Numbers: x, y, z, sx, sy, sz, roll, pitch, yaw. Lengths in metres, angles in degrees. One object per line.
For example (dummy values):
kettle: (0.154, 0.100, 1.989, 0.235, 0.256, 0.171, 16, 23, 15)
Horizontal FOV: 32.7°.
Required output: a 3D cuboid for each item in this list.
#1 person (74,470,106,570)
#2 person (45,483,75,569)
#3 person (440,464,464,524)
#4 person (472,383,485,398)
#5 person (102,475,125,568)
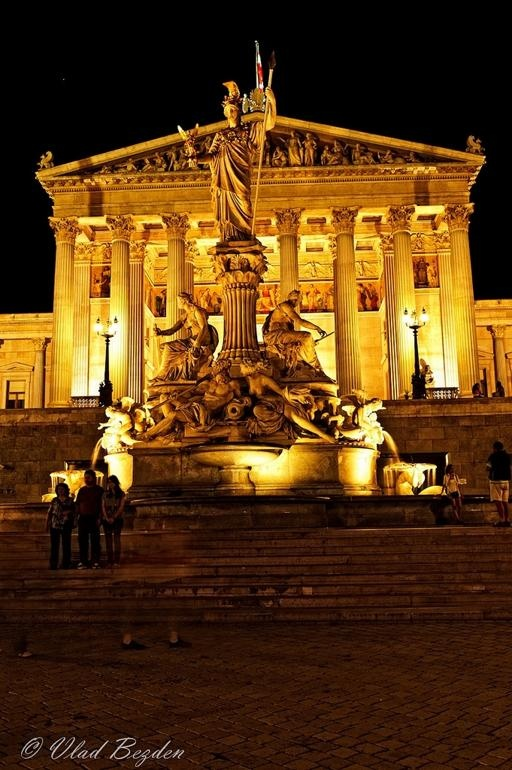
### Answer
person: (-2.248, 1.770, 11.639, 0.366, 1.213, 1.132, 2, -4, -10)
person: (-2.600, 1.840, 11.538, 0.349, 1.069, 1.082, 2, -4, -12)
person: (3.544, 1.955, 15.743, 0.326, 0.981, 0.809, 0, -4, 13)
person: (9.703, 0.225, 38.004, 0.575, 0.614, 1.018, 0, 16, 9)
person: (-1.919, 1.773, 11.556, 0.273, 1.094, 0.849, 2, -4, -10)
